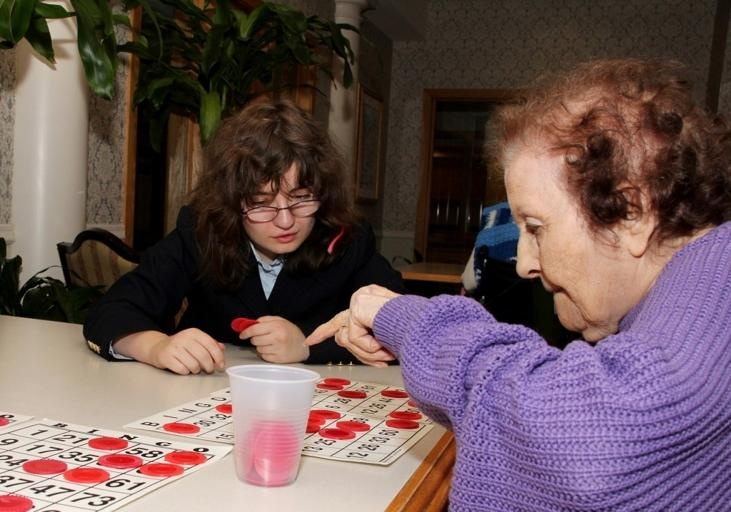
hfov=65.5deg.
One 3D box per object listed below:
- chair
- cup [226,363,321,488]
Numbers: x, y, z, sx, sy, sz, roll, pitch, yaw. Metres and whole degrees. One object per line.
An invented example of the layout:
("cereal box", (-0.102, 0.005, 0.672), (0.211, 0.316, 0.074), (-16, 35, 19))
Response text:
("chair", (-1.052, 0.054, 2.268), (0.217, 0.358, 0.213), (13, 27, 12))
("cup", (-0.125, 0.256, 0.843), (0.148, 0.149, 0.146), (2, -15, 1))
